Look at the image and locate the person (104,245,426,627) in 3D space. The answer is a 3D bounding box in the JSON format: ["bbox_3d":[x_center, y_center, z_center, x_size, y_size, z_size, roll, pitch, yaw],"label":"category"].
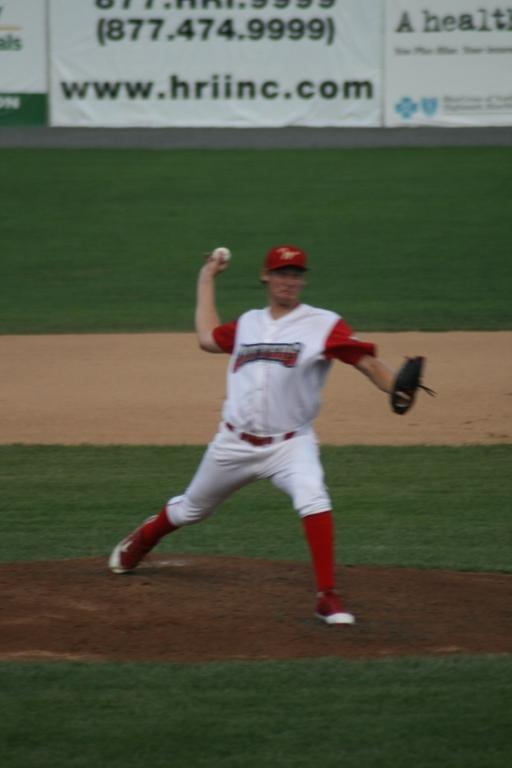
[{"bbox_3d":[0.036,0.172,6.467,1.119,1.461,0.396,7,15,34],"label":"person"}]

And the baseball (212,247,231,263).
[{"bbox_3d":[-0.146,-0.560,6.721,0.051,0.071,0.122,9,5,-19],"label":"baseball"}]

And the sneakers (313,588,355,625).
[{"bbox_3d":[0.315,0.887,6.249,0.154,0.151,0.121,0,12,4],"label":"sneakers"}]

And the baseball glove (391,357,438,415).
[{"bbox_3d":[0.620,-0.012,6.217,0.120,0.309,0.110,22,8,-4],"label":"baseball glove"}]

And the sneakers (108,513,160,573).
[{"bbox_3d":[-0.555,0.718,6.844,0.123,0.359,0.148,33,30,-31],"label":"sneakers"}]
